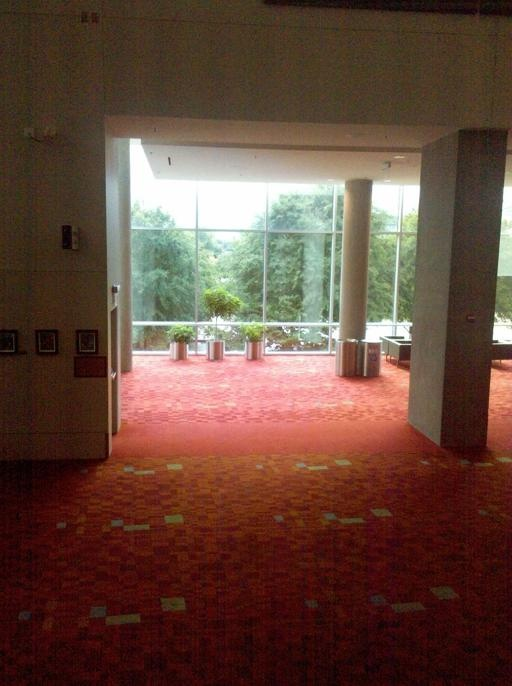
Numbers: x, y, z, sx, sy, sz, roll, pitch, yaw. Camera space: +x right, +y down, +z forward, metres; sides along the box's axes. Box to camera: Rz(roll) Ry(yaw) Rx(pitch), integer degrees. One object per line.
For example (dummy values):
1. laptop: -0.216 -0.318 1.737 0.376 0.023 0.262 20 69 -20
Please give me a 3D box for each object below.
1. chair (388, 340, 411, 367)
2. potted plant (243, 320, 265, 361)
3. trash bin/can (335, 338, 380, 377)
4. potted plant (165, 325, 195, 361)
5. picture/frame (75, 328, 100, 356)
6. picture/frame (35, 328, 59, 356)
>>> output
1. chair: 3.638 0.262 14.334 0.687 0.511 0.449 -2 8 -10
2. potted plant: -0.057 -0.029 15.399 0.537 0.979 0.484 0 5 -11
3. trash bin/can: 2.319 0.239 13.145 1.104 0.930 0.802 -1 5 0
4. potted plant: -2.037 0.001 14.994 0.847 1.060 0.845 0 5 -4
5. picture/frame: -1.973 -0.008 6.500 0.320 0.365 0.041 1 8 -4
6. picture/frame: -2.398 -0.013 6.404 0.315 0.359 0.050 0 2 -8
